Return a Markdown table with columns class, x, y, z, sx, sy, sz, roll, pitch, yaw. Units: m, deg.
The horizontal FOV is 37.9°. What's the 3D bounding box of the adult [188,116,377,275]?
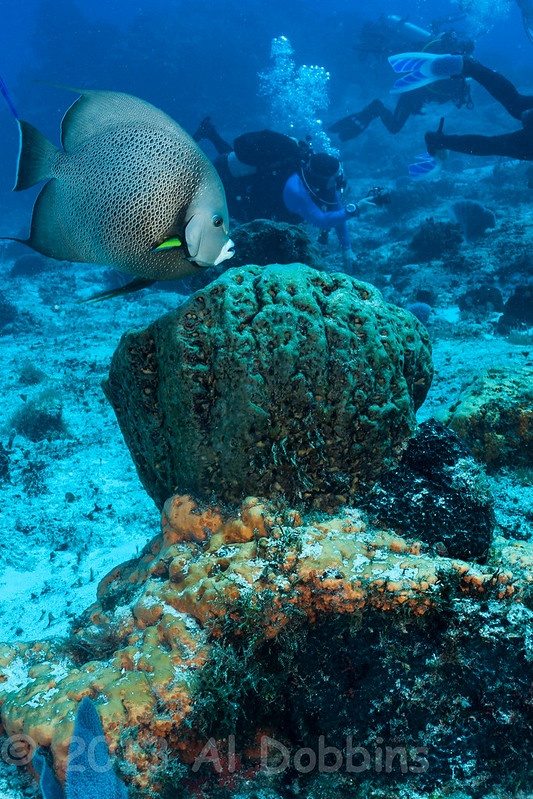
| class | x | y | z | sx | sy | sz | roll | pitch | yaw |
| --- | --- | --- | --- | --- | --- | --- | --- | --- | --- |
| adult | 0.106 | -3.351 | 11.968 | 3.085 | 1.243 | 1.727 | 27 | 34 | 19 |
